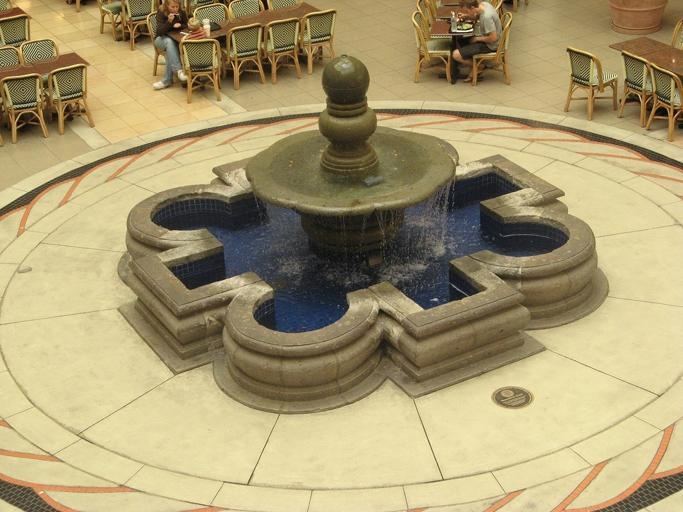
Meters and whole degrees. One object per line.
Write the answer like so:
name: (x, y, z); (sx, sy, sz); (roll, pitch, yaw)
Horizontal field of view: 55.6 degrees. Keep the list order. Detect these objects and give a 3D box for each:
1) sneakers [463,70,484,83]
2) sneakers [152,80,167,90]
sneakers: (2.622, -3.587, 12.871); (0.512, 0.134, 0.226); (-11, 27, -24)
sneakers: (-3.816, -3.515, 13.208); (0.384, 0.133, 0.145); (-19, 49, -39)
